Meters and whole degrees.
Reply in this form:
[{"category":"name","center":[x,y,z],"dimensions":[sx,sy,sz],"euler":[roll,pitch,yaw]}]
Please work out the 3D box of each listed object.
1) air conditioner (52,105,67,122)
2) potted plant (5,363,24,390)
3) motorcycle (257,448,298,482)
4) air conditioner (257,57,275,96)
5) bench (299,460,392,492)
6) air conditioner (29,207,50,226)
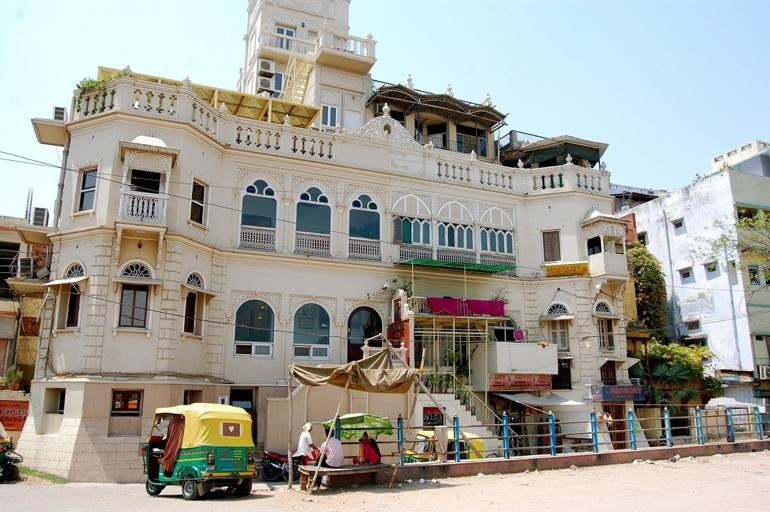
[{"category":"air conditioner","center":[-15.518,-6.735,30.607],"dimensions":[0.497,0.856,0.754],"euler":[7,-17,-26]},{"category":"potted plant","center":[-17.090,5.552,29.570],"dimensions":[0.678,1.088,0.818],"euler":[4,-16,-16]},{"category":"motorcycle","center":[-4.295,8.631,26.218],"dimensions":[1.748,1.103,0.927],"euler":[3,-18,-8]},{"category":"air conditioner","center":[-7.756,-11.691,41.859],"dimensions":[1.179,2.169,1.115],"euler":[3,-16,-13]},{"category":"bench","center":[-1.500,8.256,23.335],"dimensions":[3.905,1.319,2.125],"euler":[5,-14,-21]},{"category":"air conditioner","center":[-19.079,-2.154,35.523],"dimensions":[0.755,1.111,0.906],"euler":[9,-18,-31]}]
